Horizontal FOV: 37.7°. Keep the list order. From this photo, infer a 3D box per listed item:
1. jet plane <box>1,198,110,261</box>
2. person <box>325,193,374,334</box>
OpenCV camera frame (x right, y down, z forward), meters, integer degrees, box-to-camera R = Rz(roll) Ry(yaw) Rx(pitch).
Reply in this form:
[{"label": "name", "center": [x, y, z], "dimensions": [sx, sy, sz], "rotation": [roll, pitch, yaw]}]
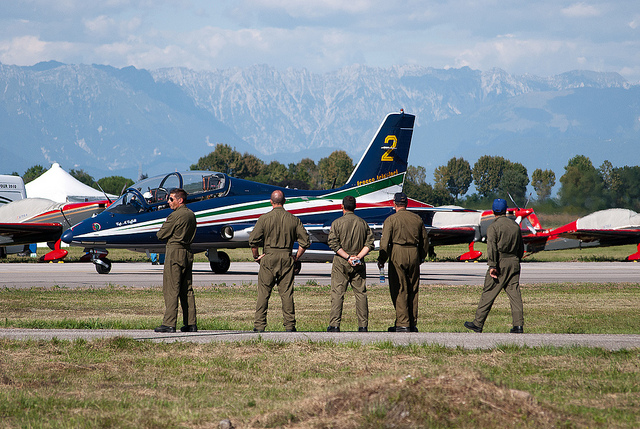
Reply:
[{"label": "jet plane", "center": [-13.815, 0.233, 46.057], "dimensions": [4.282, 1.720, 4.556], "rotation": [-1, 2, 17]}, {"label": "person", "center": [0.838, 1.352, 25.268], "dimensions": [1.153, 3.539, 1.187], "rotation": [1, 9, -7]}]
